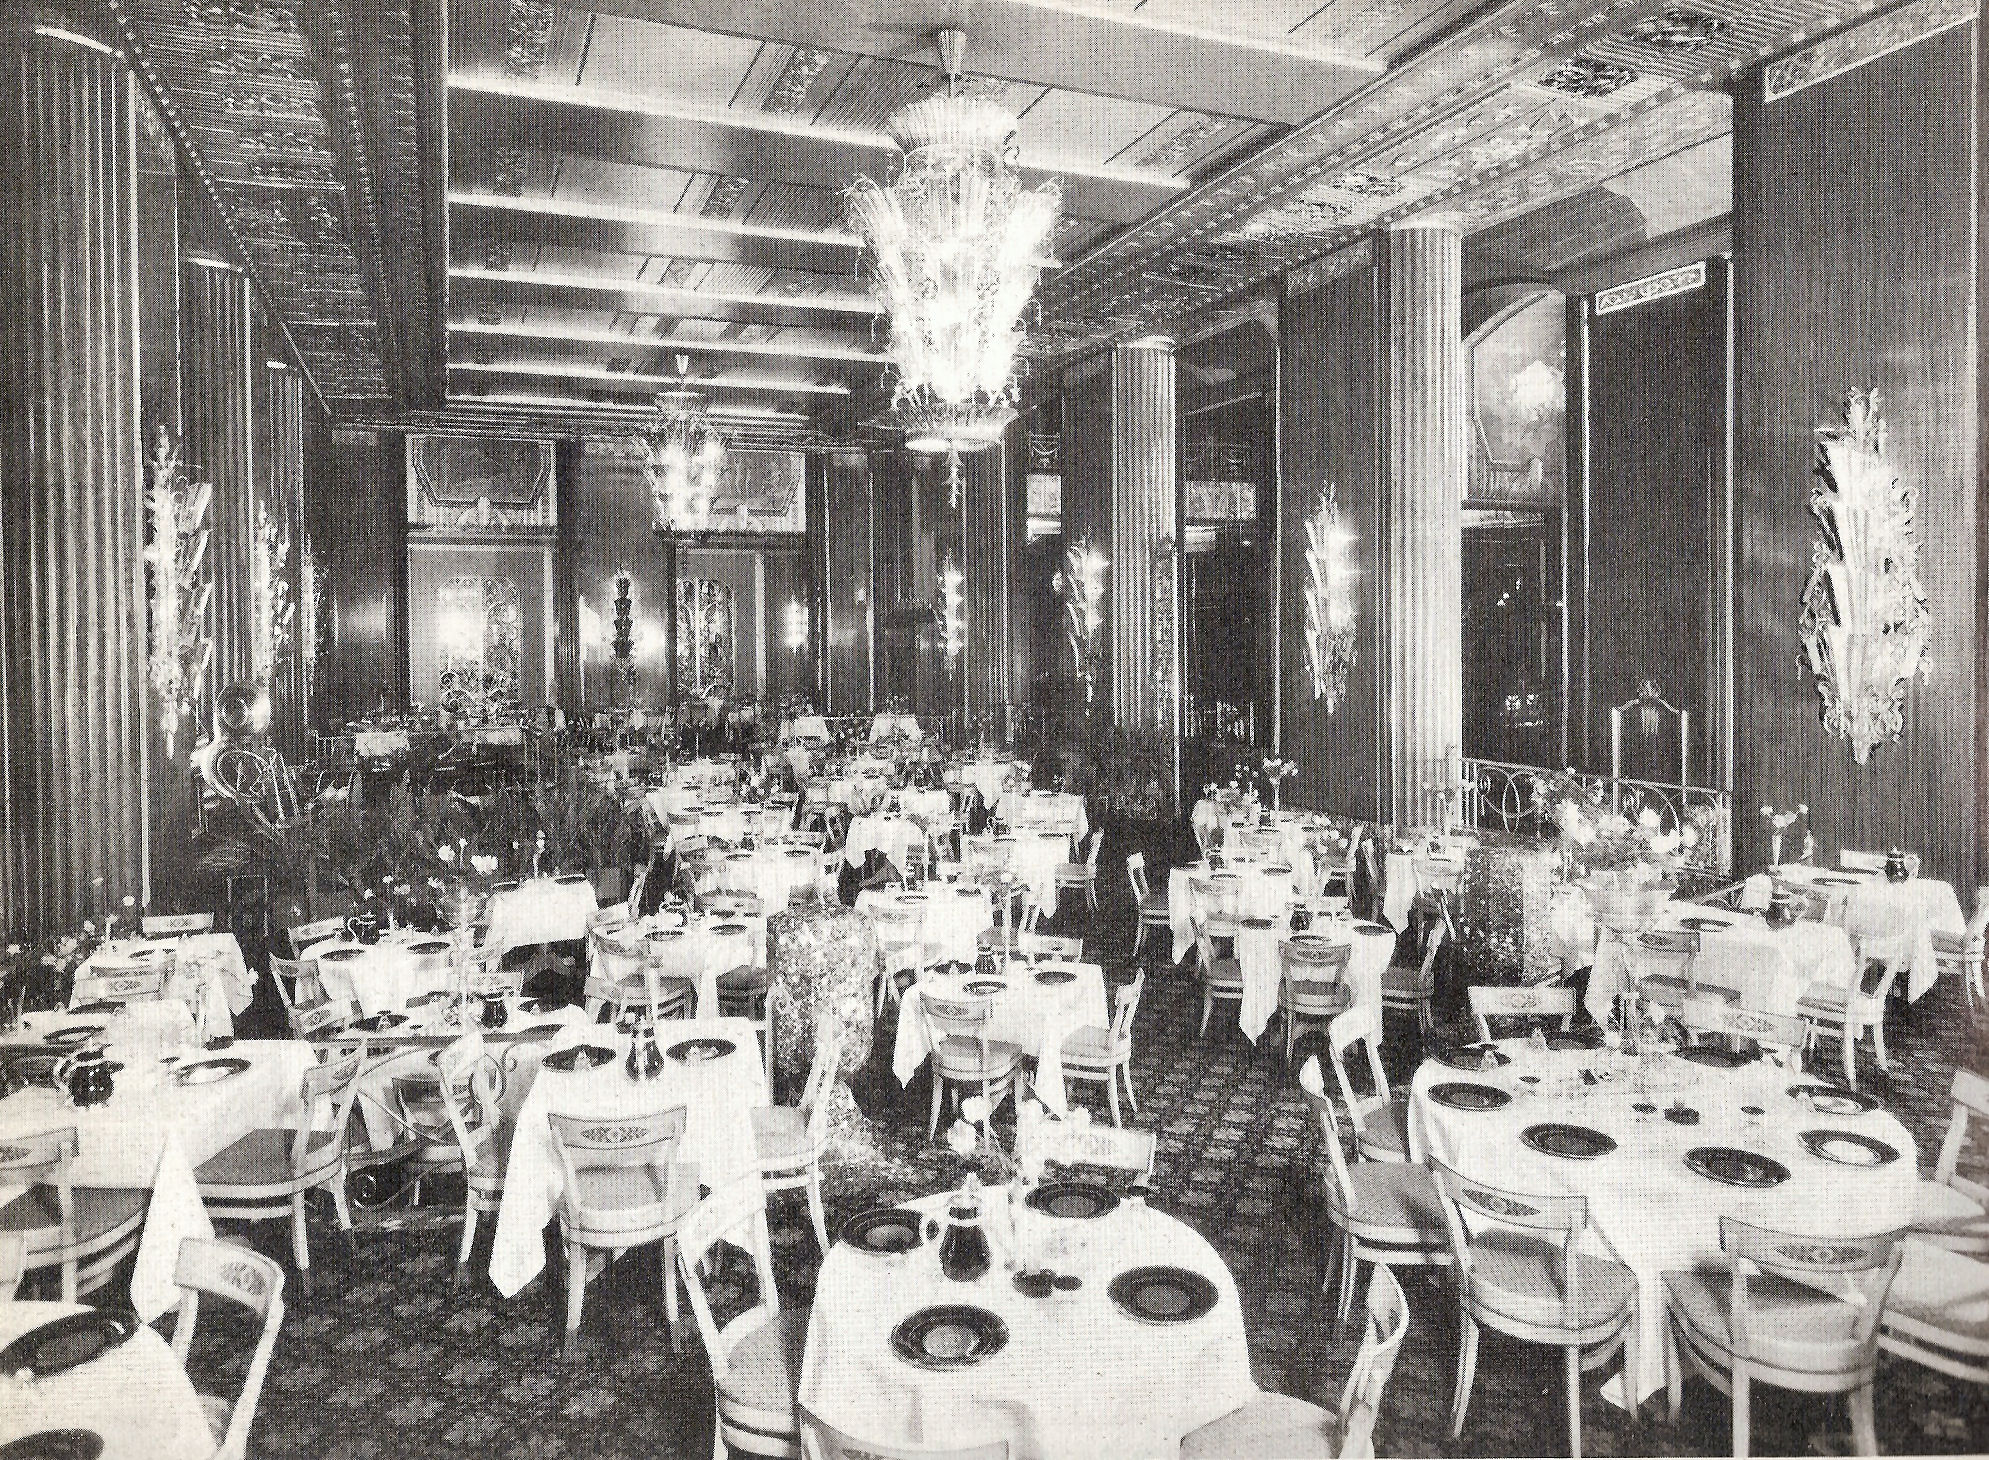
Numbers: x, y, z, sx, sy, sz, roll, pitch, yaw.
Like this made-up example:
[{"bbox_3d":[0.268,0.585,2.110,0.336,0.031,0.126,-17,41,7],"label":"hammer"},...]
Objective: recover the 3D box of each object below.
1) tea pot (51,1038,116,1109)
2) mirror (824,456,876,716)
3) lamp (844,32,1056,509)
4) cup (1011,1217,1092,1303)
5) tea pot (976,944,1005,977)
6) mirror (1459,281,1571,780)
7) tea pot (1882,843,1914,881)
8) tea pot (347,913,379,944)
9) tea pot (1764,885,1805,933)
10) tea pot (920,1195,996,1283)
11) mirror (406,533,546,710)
[{"bbox_3d":[-4.392,1.669,7.897,0.206,0.327,0.309,2,-7,-23],"label":"tea pot"},{"bbox_3d":[-2.117,-1.815,23.824,0.928,5.311,0.436,-2,-30,-2],"label":"mirror"},{"bbox_3d":[-0.279,-3.087,11.455,1.415,2.889,3.020,-1,2,-1],"label":"lamp"},{"bbox_3d":[0.233,2.218,6.800,0.307,0.204,0.353,-1,2,5],"label":"cup"},{"bbox_3d":[-0.020,1.348,9.609,0.095,0.175,0.163,1,-3,2],"label":"tea pot"},{"bbox_3d":[5.585,-1.970,17.369,1.073,5.372,0.198,0,-2,34],"label":"mirror"},{"bbox_3d":[5.687,0.853,10.293,0.150,0.251,0.167,1,3,7],"label":"tea pot"},{"bbox_3d":[-3.994,1.263,10.316,0.197,0.262,0.256,3,-6,-21],"label":"tea pot"},{"bbox_3d":[4.767,1.072,9.829,0.308,0.363,0.200,2,-6,-40],"label":"tea pot"},{"bbox_3d":[-0.125,2.106,6.837,0.245,0.347,0.245,-1,2,0],"label":"tea pot"},{"bbox_3d":[-7.082,-1.268,22.415,1.900,3.023,0.096,2,-34,-22],"label":"mirror"}]
